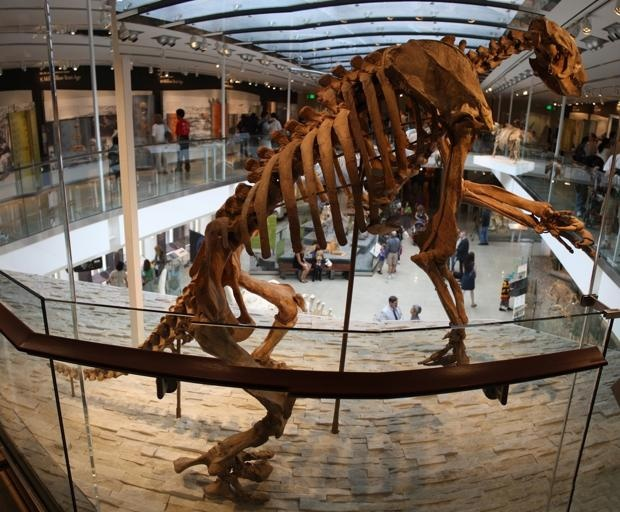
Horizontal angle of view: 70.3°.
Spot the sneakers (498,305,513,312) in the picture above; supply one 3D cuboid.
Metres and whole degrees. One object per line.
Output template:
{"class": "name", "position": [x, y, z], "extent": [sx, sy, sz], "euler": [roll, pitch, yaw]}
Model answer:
{"class": "sneakers", "position": [4.609, 1.223, 10.316], "extent": [0.097, 0.105, 0.269], "euler": [5, -9, -10]}

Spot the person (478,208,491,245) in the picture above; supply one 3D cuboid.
{"class": "person", "position": [6.363, -1.086, 15.995], "extent": [0.368, 1.262, 0.898], "euler": [7, 12, 20]}

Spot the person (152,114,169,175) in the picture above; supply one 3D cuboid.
{"class": "person", "position": [-3.203, -2.420, 9.432], "extent": [0.295, 1.217, 0.834], "euler": [-1, 12, -18]}

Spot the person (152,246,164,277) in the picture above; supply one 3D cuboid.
{"class": "person", "position": [-3.139, 0.051, 9.212], "extent": [0.265, 0.594, 0.728], "euler": [-1, 11, -19]}

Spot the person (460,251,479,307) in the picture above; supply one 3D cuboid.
{"class": "person", "position": [3.908, 0.523, 10.708], "extent": [0.426, 1.428, 1.192], "euler": [7, 12, 20]}
